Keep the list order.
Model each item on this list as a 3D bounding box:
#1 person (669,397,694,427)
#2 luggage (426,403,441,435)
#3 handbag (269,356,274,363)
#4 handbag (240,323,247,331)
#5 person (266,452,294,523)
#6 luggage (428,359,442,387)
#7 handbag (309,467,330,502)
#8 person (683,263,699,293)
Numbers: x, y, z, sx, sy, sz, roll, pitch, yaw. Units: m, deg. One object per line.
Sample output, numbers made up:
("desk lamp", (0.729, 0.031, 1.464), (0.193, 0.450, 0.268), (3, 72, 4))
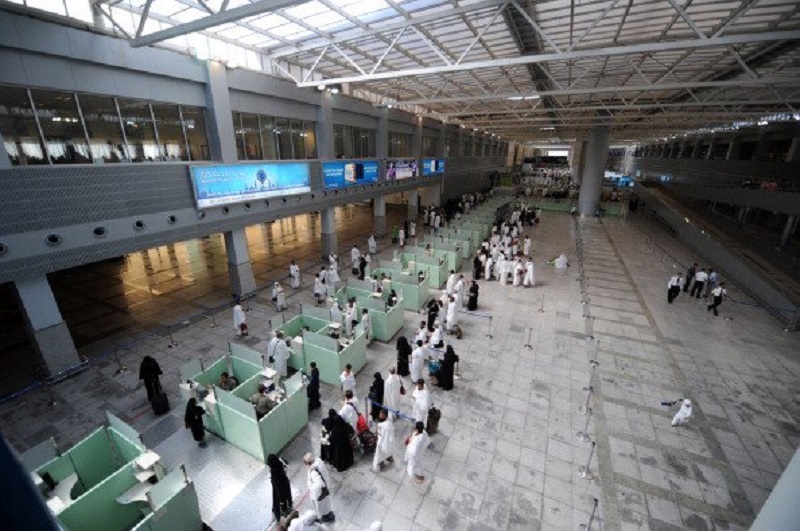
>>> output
("person", (10.643, 5.603, 15.968), (0.576, 0.820, 0.511), (-23, 41, -4))
("luggage", (1.244, 5.639, 15.443), (0.514, 0.997, 0.456), (1, 19, -4))
("handbag", (-5.226, 3.863, 17.355), (0.196, 0.275, 0.085), (4, -2, 13))
("handbag", (-7.197, 2.855, 19.564), (0.365, 0.336, 0.252), (-5, -6, -12))
("person", (-3.734, 6.966, 13.374), (0.655, 2.308, 0.580), (-3, 20, -15))
("luggage", (1.449, 4.353, 17.104), (0.530, 0.814, 0.835), (9, 33, 18))
("handbag", (-2.528, 6.822, 13.183), (0.522, 1.041, 0.462), (-4, 20, -17))
("person", (17.015, 0.773, 24.695), (0.578, 1.898, 0.794), (-2, 38, 12))
